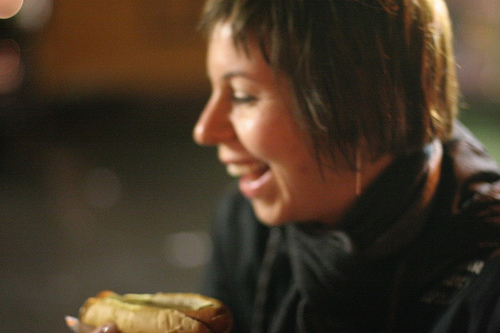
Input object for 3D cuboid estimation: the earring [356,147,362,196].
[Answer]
[{"bbox_3d":[0.470,0.023,2.895,0.027,0.208,0.011,1,7,0],"label":"earring"}]
